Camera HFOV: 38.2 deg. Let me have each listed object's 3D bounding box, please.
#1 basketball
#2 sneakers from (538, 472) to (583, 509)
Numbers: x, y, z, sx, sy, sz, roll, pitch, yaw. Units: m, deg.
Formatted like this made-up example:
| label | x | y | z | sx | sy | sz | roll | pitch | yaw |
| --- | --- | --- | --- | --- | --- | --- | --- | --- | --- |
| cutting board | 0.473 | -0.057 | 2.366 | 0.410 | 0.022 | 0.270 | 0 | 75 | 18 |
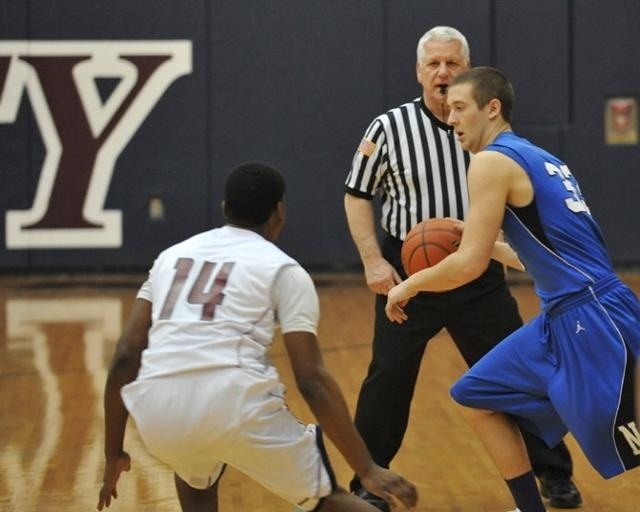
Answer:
| label | x | y | z | sx | sy | sz | roll | pitch | yaw |
| --- | --- | --- | --- | --- | --- | --- | --- | --- | --- |
| basketball | 0.549 | -0.014 | 4.565 | 0.269 | 0.342 | 0.294 | -11 | -17 | 11 |
| sneakers | 1.153 | 1.140 | 4.434 | 0.097 | 0.129 | 0.234 | 0 | -7 | -17 |
